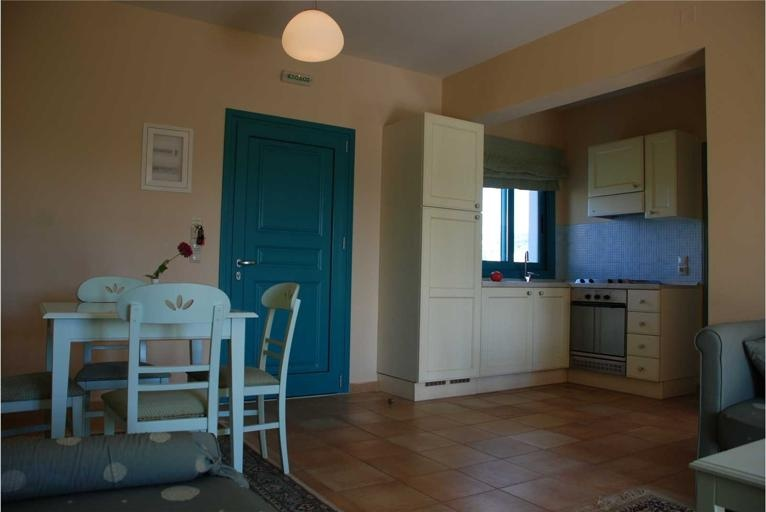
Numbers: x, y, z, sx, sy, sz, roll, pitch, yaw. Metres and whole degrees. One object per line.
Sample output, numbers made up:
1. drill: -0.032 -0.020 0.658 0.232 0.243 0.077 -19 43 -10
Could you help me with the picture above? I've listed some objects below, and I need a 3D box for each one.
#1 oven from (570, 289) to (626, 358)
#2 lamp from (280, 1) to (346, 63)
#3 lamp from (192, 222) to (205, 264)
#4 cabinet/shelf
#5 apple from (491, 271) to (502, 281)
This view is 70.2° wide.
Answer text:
1. oven: 2.200 0.716 5.732 0.579 0.722 0.512 4 -10 3
2. lamp: -0.507 -1.603 3.907 0.409 0.368 0.164 0 4 -11
3. lamp: -1.587 -0.115 4.690 0.113 0.336 0.062 -1 4 -20
4. cabinet/shelf: 1.606 0.044 5.476 3.117 2.939 1.562 0 -1 -33
5. apple: 1.173 0.213 5.630 0.095 0.087 0.094 2 -4 -14
